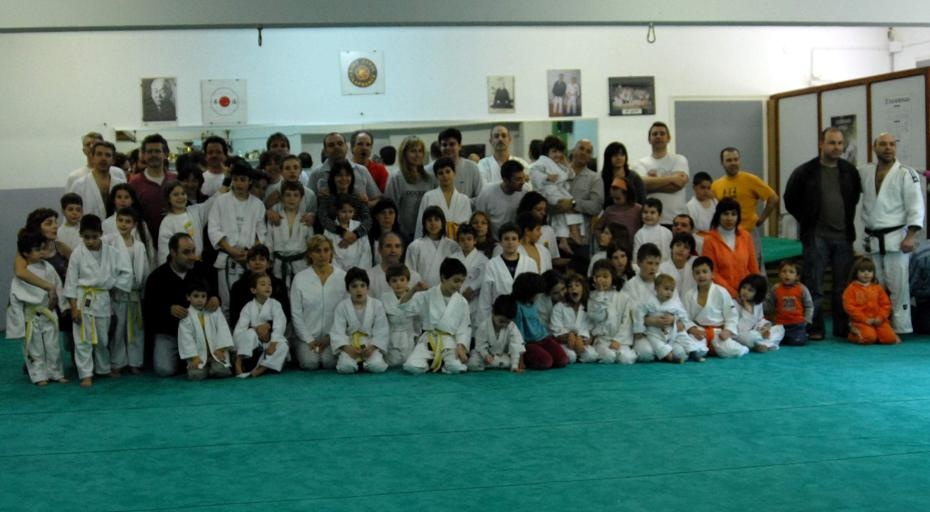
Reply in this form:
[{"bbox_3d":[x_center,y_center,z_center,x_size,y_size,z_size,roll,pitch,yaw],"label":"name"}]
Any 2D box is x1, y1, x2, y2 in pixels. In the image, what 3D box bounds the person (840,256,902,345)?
[{"bbox_3d":[5.372,0.584,9.785,0.659,1.143,0.367,-1,5,18],"label":"person"}]
